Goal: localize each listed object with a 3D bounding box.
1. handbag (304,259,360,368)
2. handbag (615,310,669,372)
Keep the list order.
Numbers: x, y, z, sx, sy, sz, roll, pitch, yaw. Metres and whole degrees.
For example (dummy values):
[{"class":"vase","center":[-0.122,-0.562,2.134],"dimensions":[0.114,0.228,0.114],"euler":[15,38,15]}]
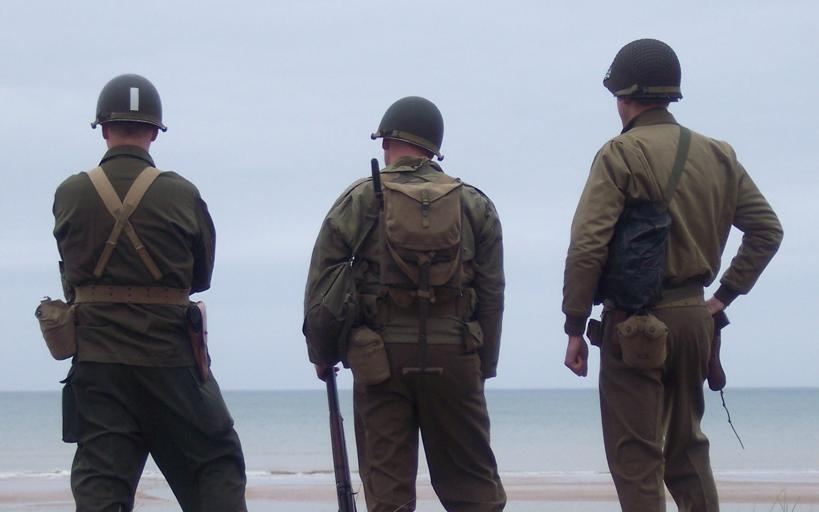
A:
[{"class":"handbag","center":[-1.514,1.136,33.298],"dimensions":[1.061,1.882,0.432],"euler":[-3,-10,4]},{"class":"handbag","center":[4.486,1.637,33.525],"dimensions":[1.292,1.511,0.900],"euler":[0,-5,1]}]
